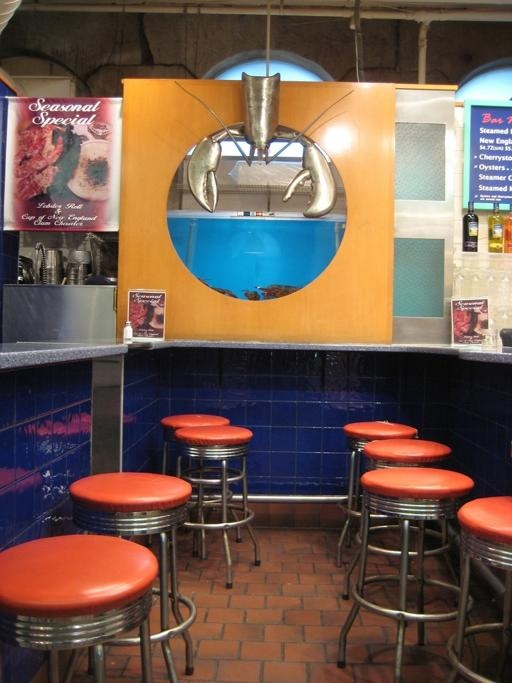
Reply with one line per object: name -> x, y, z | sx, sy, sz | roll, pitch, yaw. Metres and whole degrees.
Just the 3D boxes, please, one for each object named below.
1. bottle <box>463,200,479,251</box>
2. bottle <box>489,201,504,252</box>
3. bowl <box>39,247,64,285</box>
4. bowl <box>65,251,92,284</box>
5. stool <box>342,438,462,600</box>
bottle -> 1.271, -0.674, 3.728 | 0.081, 0.300, 0.143 | 0, 1, 16
bottle -> 1.427, -0.656, 3.736 | 0.086, 0.290, 0.256 | 0, 1, 20
bowl -> -1.202, -0.435, 3.673 | 0.136, 0.231, 0.250 | -1, 1, -17
bowl -> -1.046, -0.434, 3.694 | 0.160, 0.221, 0.177 | -1, 1, -22
stool -> 0.605, 0.708, 2.988 | 0.491, 0.607, 0.465 | 4, -8, -13
